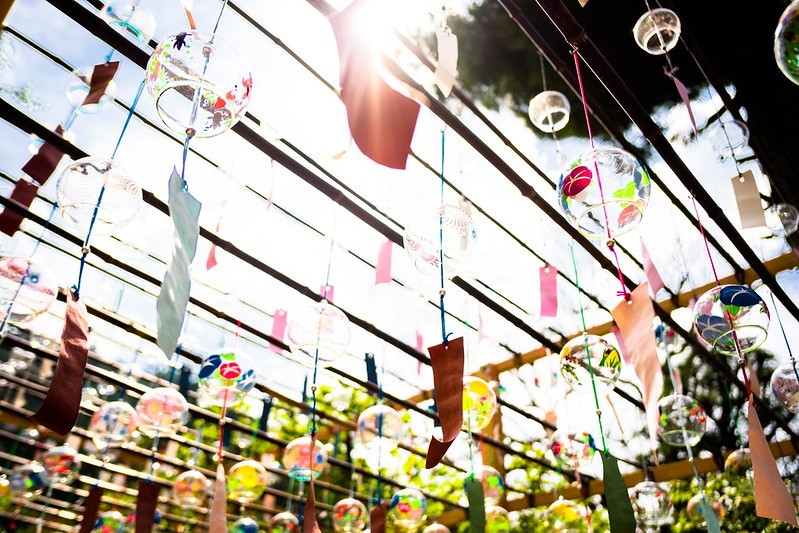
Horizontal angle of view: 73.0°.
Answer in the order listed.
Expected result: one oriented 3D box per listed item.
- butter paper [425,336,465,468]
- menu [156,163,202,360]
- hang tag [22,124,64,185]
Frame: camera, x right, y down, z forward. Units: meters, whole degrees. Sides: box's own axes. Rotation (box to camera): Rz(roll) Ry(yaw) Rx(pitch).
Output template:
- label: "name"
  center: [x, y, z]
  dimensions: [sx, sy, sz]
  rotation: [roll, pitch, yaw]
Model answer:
- label: "butter paper"
  center: [0.261, 0.779, 3.127]
  dimensions: [0.202, 0.627, 0.425]
  rotation: [1, -37, 4]
- label: "menu"
  center: [-1.225, -0.070, 2.975]
  dimensions: [0.252, 1.066, 0.071]
  rotation: [10, 6, 28]
- label: "hang tag"
  center: [-3.233, -0.966, 4.924]
  dimensions: [0.197, 0.590, 0.279]
  rotation: [32, -44, -32]
